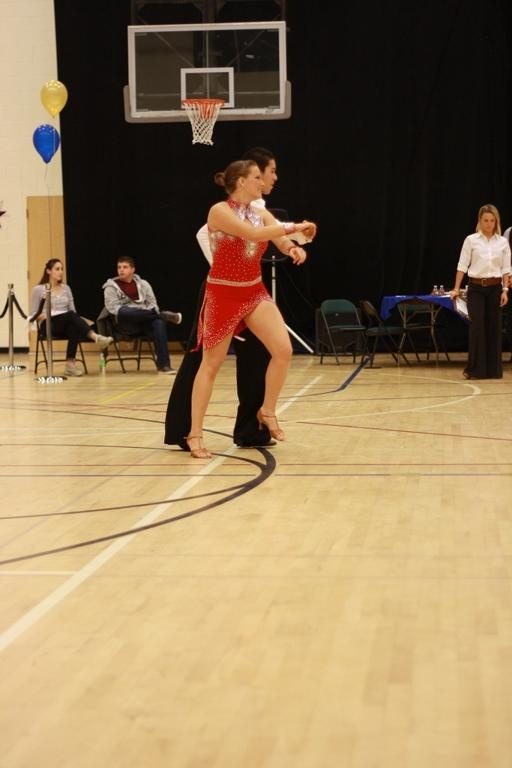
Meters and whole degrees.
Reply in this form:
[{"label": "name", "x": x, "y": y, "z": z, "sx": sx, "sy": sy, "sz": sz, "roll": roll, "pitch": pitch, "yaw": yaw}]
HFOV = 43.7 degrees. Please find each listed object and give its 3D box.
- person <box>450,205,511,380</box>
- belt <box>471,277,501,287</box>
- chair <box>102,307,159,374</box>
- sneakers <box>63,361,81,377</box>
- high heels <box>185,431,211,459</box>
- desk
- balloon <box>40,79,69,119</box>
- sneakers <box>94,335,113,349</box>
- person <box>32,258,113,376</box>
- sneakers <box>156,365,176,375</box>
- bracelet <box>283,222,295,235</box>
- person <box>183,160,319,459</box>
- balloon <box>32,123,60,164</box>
[{"label": "person", "x": 2.578, "y": -1.045, "z": 7.296, "sx": 0.603, "sy": 1.966, "sz": 0.343, "roll": 2, "pitch": 7, "yaw": 15}, {"label": "belt", "x": 2.602, "y": -1.155, "z": 7.208, "sx": 0.355, "sy": 0.094, "sz": 0.087, "roll": 1, "pitch": 6, "yaw": -3}, {"label": "chair", "x": -1.799, "y": -0.650, "z": 9.011, "sx": 0.795, "sy": 0.870, "sz": 0.790, "roll": -4, "pitch": 0, "yaw": 3}, {"label": "sneakers", "x": -2.432, "y": -0.218, "z": 8.553, "sx": 0.207, "sy": 0.181, "sz": 0.417, "roll": -1, "pitch": 7, "yaw": -17}, {"label": "high heels", "x": -0.308, "y": 0.344, "z": 3.548, "sx": 0.076, "sy": 0.091, "sz": 0.205, "roll": -5, "pitch": 9, "yaw": -12}, {"label": "desk", "x": 2.541, "y": -0.992, "z": 9.918, "sx": 1.403, "sy": 1.280, "sz": 1.508, "roll": 0, "pitch": 1, "yaw": 4}, {"label": "balloon", "x": -3.339, "y": -4.787, "z": 10.634, "sx": 0.349, "sy": 0.488, "sz": 0.252, "roll": 5, "pitch": 8, "yaw": 33}, {"label": "sneakers", "x": -1.998, "y": -0.550, "z": 8.383, "sx": 0.186, "sy": 0.210, "sz": 0.595, "roll": -1, "pitch": 7, "yaw": -14}, {"label": "person", "x": -2.618, "y": -0.896, "z": 8.493, "sx": 0.883, "sy": 1.537, "sz": 1.353, "roll": -3, "pitch": 8, "yaw": -32}, {"label": "sneakers", "x": -1.170, "y": -0.192, "z": 8.494, "sx": 0.097, "sy": 0.105, "sz": 0.262, "roll": 0, "pitch": -2, "yaw": -43}, {"label": "bracelet", "x": 0.176, "y": -0.813, "z": 3.291, "sx": 0.072, "sy": 0.072, "sz": 0.065, "roll": -1, "pitch": -1, "yaw": 6}, {"label": "person", "x": -0.042, "y": -0.429, "z": 3.584, "sx": 0.670, "sy": 1.673, "sz": 0.670, "roll": 0, "pitch": 6, "yaw": -6}, {"label": "balloon", "x": -3.753, "y": -4.369, "z": 11.510, "sx": 0.429, "sy": 0.665, "sz": 0.301, "roll": -2, "pitch": 7, "yaw": -20}]
